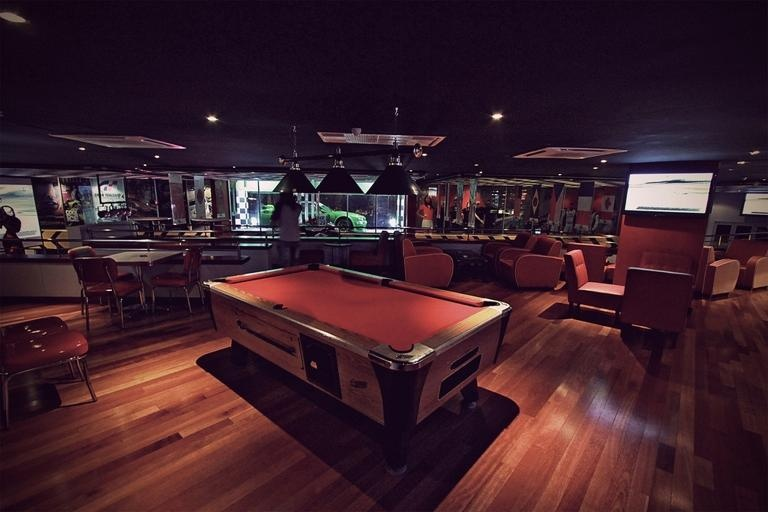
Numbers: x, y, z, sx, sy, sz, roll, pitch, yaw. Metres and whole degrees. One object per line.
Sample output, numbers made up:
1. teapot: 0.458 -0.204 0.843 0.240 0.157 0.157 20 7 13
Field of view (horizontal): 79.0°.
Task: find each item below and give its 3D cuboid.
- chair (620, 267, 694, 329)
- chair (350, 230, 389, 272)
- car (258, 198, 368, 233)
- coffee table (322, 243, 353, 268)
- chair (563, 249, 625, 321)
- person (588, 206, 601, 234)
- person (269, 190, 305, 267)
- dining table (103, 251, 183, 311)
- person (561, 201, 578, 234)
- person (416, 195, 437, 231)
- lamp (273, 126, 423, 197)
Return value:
1. chair: 4.357 0.640 7.679 1.061 1.030 0.984 5 9 26
2. chair: -0.295 -0.052 10.305 1.006 1.088 0.824 3 11 -1
3. car: -2.254 -1.131 14.973 3.385 0.930 1.416 -1 12 -5
4. coffee table: -1.087 -0.077 10.855 0.617 0.594 0.591 7 14 18
5. chair: 3.405 0.431 8.161 1.318 1.279 0.907 3 15 26
6. person: 7.239 -1.191 16.052 0.255 0.838 0.643 0 -1 44
7. person: -1.913 -0.466 9.001 0.548 1.347 0.849 0 -1 -13
8. dining table: -4.129 0.318 7.972 1.170 1.018 1.075 4 23 -5
9. person: 6.344 -1.322 15.977 0.401 0.936 0.741 0 -1 -12
10. person: 1.426 -1.618 16.431 0.599 1.099 1.510 0 -2 7
11. lamp: -0.331 -1.201 6.095 2.186 0.930 1.050 -1 21 -1
